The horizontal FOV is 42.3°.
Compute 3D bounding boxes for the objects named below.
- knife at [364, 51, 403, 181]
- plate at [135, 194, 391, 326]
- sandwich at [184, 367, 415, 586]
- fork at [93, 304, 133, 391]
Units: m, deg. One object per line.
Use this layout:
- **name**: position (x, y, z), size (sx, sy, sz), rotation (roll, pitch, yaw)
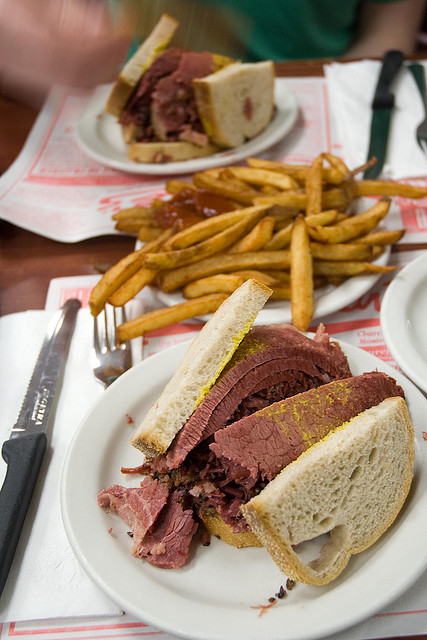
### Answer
- **knife**: position (0.795, -0.999, 2.591), size (0.119, 0.042, 0.844), rotation (-5, 0, 14)
- **plate**: position (0.115, -0.324, 2.092), size (1.169, 0.430, 0.599), rotation (-13, 29, -14)
- **sandwich**: position (0.185, 0.298, 1.326), size (0.536, 0.348, 0.565), rotation (-18, 28, -41)
- **fork**: position (-0.322, 0.054, 1.738), size (0.065, 0.053, 0.445), rotation (-25, 30, 7)
